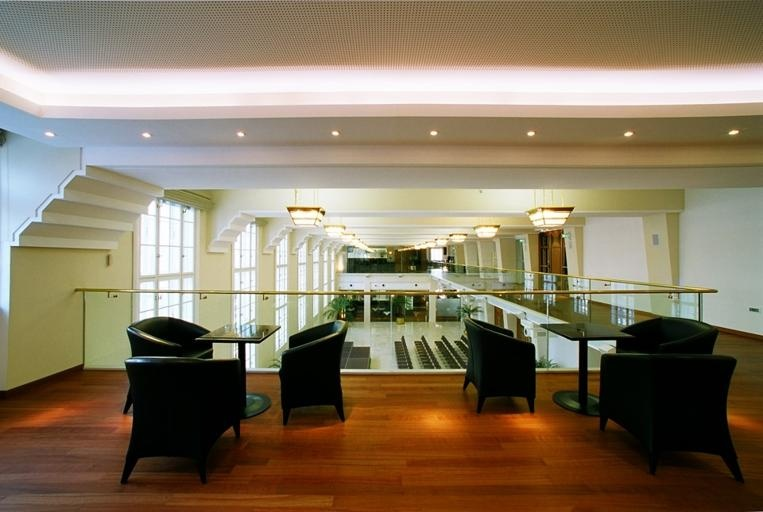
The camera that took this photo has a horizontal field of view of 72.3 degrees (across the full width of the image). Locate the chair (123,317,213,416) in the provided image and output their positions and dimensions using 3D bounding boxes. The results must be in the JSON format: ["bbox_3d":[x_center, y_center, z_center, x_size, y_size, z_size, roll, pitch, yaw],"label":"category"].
[{"bbox_3d":[-2.630,1.244,6.589,0.841,0.774,0.738,-20,-27,29],"label":"chair"}]

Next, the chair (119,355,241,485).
[{"bbox_3d":[-2.025,1.720,5.670,1.147,1.164,1.232,-6,-14,21],"label":"chair"}]

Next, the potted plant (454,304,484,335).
[{"bbox_3d":[1.233,0.858,7.072,0.410,0.376,0.406,-4,-2,12],"label":"potted plant"}]

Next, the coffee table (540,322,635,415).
[{"bbox_3d":[2.627,1.253,6.555,1.014,1.078,1.690,0,1,-3],"label":"coffee table"}]

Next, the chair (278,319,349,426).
[{"bbox_3d":[-0.781,1.312,6.235,0.939,0.945,0.879,-1,5,10],"label":"chair"}]

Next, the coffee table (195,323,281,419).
[{"bbox_3d":[-1.687,1.376,6.242,0.811,0.803,0.938,-3,0,-8],"label":"coffee table"}]

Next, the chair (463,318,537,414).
[{"bbox_3d":[1.425,1.325,6.411,0.957,0.840,0.857,2,-4,12],"label":"chair"}]
